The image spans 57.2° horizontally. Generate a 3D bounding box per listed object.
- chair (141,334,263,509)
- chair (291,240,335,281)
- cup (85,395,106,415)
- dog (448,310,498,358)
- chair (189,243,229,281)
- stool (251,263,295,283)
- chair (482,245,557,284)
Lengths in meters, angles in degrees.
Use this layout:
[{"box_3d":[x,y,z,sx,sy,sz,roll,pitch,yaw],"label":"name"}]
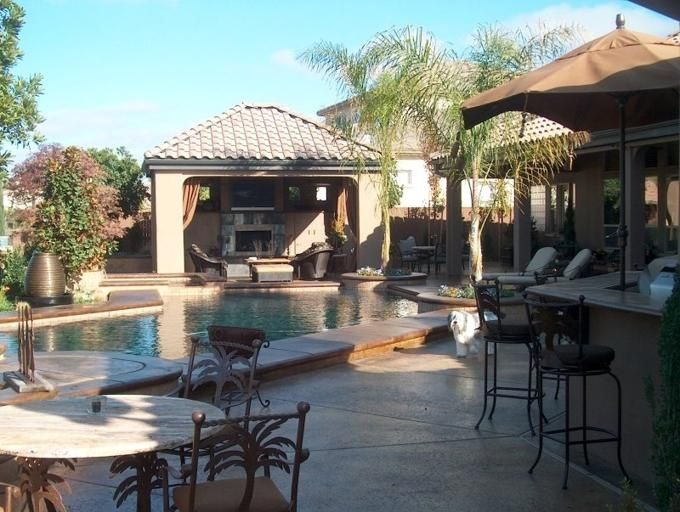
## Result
[{"box_3d":[-1.180,1.108,5.212,0.892,1.605,1.064,0,-2,14],"label":"chair"},{"box_3d":[-0.769,0.125,18.198,0.989,1.027,1.094,-5,8,-37],"label":"chair"},{"box_3d":[-1.467,0.891,3.739,0.084,0.109,0.090,1,0,0],"label":"cup"},{"box_3d":[1.725,0.976,8.074,0.904,0.617,0.292,-8,1,-41],"label":"dog"},{"box_3d":[-3.891,0.208,18.506,1.118,1.126,1.091,-1,2,-13],"label":"chair"},{"box_3d":[-1.860,0.487,17.113,1.003,0.444,1.080,-1,0,-17],"label":"stool"},{"box_3d":[3.559,0.241,11.778,1.433,0.930,1.184,0,-1,-6],"label":"chair"}]
